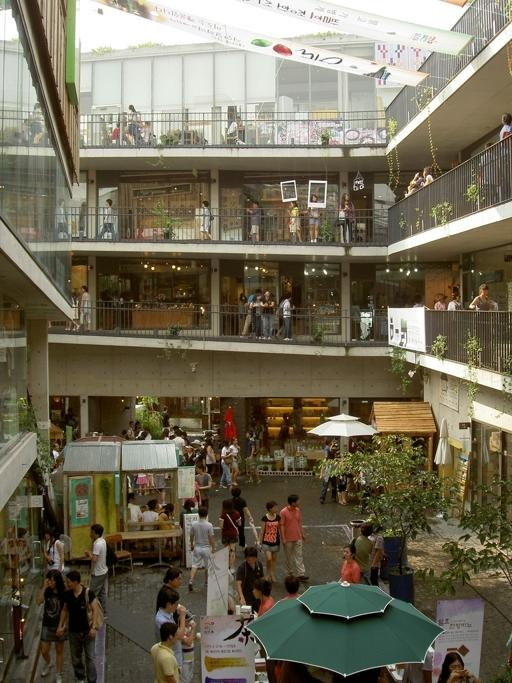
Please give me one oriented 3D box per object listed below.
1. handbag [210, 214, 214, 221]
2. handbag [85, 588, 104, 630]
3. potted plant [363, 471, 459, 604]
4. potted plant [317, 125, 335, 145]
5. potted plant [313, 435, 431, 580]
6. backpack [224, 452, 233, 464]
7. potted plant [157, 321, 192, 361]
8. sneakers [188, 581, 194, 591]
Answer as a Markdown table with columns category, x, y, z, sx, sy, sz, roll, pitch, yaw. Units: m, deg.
| category | x | y | z | sx | sy | sz | roll | pitch | yaw |
| --- | --- | --- | --- | --- | --- | --- | --- | --- | --- |
| handbag | -1.648 | -4.558 | 23.946 | 0.126 | 0.257 | 0.250 | 0 | -24 | -2 |
| handbag | -1.764 | 2.850 | 6.952 | 0.104 | 0.470 | 0.277 | -3 | -4 | 19 |
| potted plant | 2.124 | 2.921 | 10.035 | 0.889 | 1.516 | 1.052 | 1 | -8 | 29 |
| potted plant | 2.531 | -7.192 | 23.028 | 0.588 | 0.870 | 0.568 | 1 | -4 | -3 |
| potted plant | 2.168 | 3.173 | 12.216 | 2.252 | 3.079 | 2.095 | -3 | -2 | -15 |
| backpack | -0.846 | 3.515 | 19.658 | 0.216 | 0.296 | 0.259 | -3 | -11 | -12 |
| potted plant | -2.885 | -0.020 | 23.166 | 0.924 | 1.046 | 1.441 | -1 | -4 | -8 |
| sneakers | -1.113 | 4.119 | 10.971 | 0.071 | 0.186 | 0.122 | -1 | 11 | 2 |
